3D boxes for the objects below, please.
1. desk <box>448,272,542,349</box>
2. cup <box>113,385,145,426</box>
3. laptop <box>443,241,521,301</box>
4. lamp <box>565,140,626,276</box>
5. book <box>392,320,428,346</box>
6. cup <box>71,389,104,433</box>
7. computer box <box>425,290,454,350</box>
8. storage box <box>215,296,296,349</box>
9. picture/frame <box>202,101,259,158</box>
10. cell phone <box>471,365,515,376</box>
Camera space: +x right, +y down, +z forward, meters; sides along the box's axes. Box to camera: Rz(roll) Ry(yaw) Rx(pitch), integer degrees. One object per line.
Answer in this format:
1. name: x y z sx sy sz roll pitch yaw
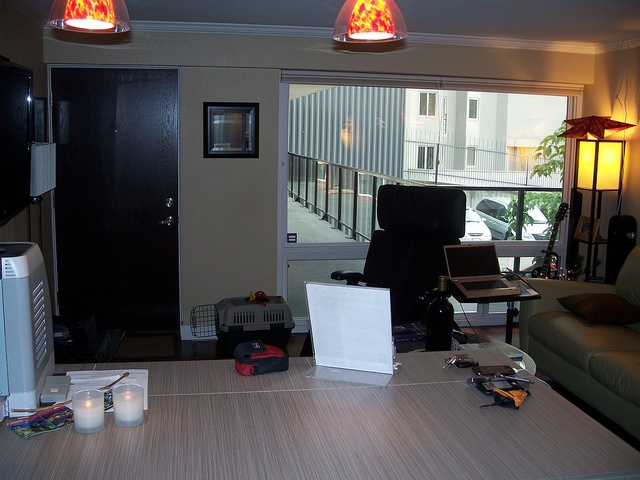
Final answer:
1. desk: 1.201 0.566 3.452 0.546 0.564 0.457 -3 6 4
2. cup: -0.623 0.534 1.618 0.099 0.109 0.101 0 0 0
3. laptop: 1.100 0.195 3.344 0.511 0.268 0.499 -10 15 -39
4. lamp: 2.539 -0.216 4.618 0.370 1.507 0.368 11 29 40
5. book: 0.473 0.488 2.597 0.172 0.044 0.179 -3 8 4
6. cup: -0.718 0.521 1.580 0.108 0.129 0.108 5 13 -1
7. computer box: 0.544 0.305 2.262 0.111 0.475 0.117 2 34 14
8. storage box: -0.506 0.656 4.029 0.544 0.360 0.377 0 8 -17
9. picture/frame: -0.761 -0.938 4.312 0.436 0.468 0.035 -1 -11 -6
10. cell phone: 0.676 0.510 1.952 0.159 0.018 0.091 -1 3 -20
